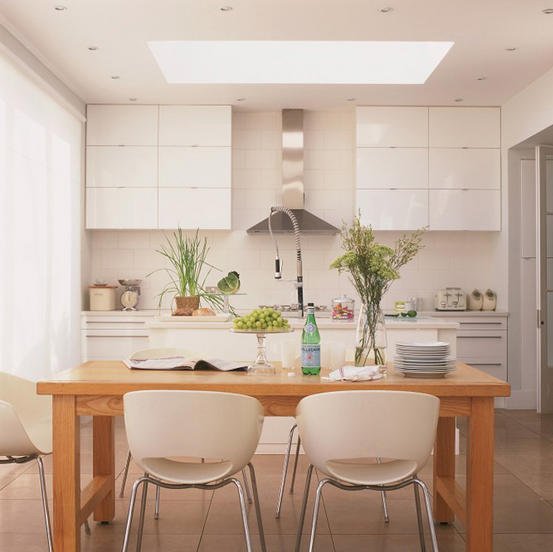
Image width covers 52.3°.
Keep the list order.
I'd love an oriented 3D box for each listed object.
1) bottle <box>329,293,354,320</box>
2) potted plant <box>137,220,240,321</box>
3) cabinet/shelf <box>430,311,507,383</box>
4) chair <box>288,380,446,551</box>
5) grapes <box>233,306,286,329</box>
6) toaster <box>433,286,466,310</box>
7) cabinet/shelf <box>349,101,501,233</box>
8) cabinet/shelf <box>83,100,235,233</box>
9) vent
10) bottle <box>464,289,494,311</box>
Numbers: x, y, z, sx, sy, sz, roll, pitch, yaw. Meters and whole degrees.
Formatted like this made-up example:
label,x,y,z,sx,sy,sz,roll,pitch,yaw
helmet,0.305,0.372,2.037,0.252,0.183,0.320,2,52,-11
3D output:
label,x,y,z,sx,sy,sz,roll,pitch,yaw
bottle,0.508,0.233,4.269,0.201,0.174,0.191,0,-6,-3
potted plant,-0.615,-0.010,4.002,0.494,0.473,0.433,-5,-9,11
cabinet/shelf,1.455,0.515,4.166,0.716,0.648,0.380,0,-4,0
chair,0.335,0.699,2.104,0.510,0.555,0.257,-2,0,3
grapes,-0.056,0.182,2.437,0.217,0.100,0.218,-2,-1,9
toaster,1.704,0.237,5.591,0.365,0.280,0.201,0,-3,3
cabinet/shelf,1.447,-1.066,5.417,1.666,1.286,0.516,1,2,2
cabinet/shelf,-1.170,-1.084,5.405,1.523,1.178,0.471,1,0,-3
vent,0.139,-1.057,5.662,0.857,1.217,0.464,-2,0,6
bottle,2.030,0.245,5.588,0.332,0.290,0.204,0,-5,3
